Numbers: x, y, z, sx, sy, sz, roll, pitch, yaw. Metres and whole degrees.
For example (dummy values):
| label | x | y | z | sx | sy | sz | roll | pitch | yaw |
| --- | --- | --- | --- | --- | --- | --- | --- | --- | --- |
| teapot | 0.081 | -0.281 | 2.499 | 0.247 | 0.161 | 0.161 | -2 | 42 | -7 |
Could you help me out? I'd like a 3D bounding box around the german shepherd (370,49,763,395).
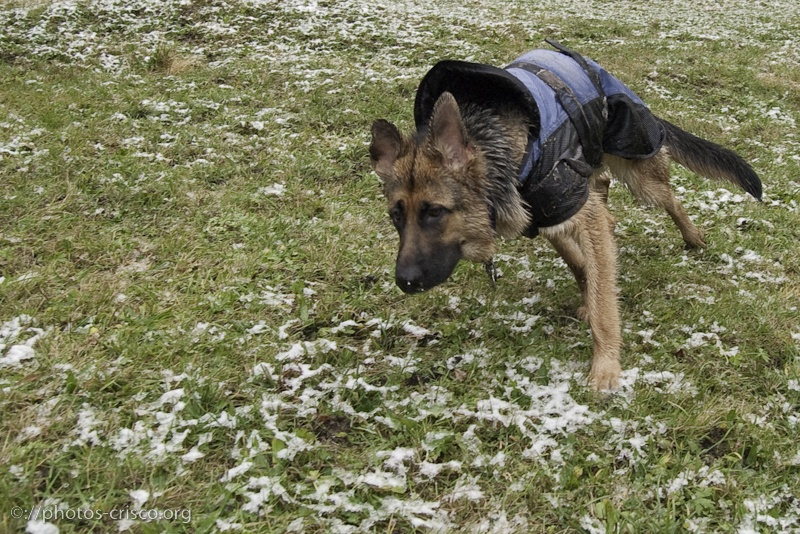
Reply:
| label | x | y | z | sx | sy | sz | roll | pitch | yaw |
| --- | --- | --- | --- | --- | --- | --- | --- | --- | --- |
| german shepherd | 1.444 | -0.871 | 7.449 | 3.562 | 2.170 | 2.445 | 6 | 46 | -2 |
